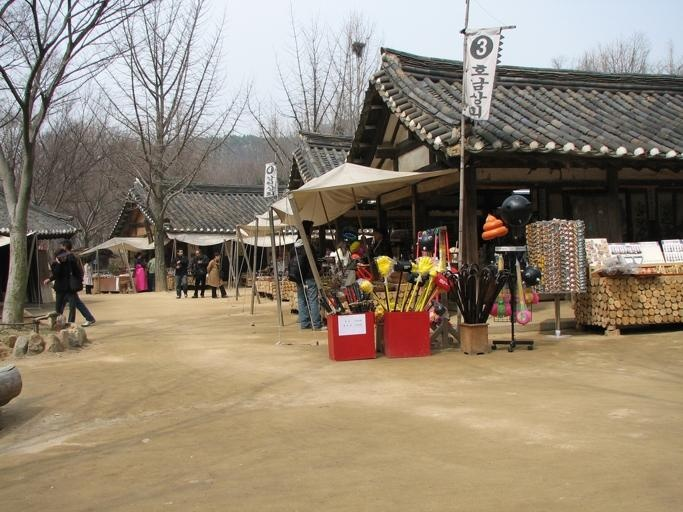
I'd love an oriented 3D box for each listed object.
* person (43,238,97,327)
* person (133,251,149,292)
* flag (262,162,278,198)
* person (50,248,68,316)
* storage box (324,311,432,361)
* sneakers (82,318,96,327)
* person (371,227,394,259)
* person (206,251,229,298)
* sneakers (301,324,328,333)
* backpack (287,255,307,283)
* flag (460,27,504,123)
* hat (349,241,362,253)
[{"bbox_3d":[-5.659,0.497,12.642,0.842,1.894,0.603,4,21,-15],"label":"person"},{"bbox_3d":[-8.801,0.763,26.486,0.619,1.608,1.292,-2,-2,-19],"label":"person"},{"bbox_3d":[-2.382,-2.577,20.132,0.015,1.040,0.516,14,17,41],"label":"flag"},{"bbox_3d":[-5.818,0.509,12.385,0.315,1.347,1.311,-1,-2,-26],"label":"person"},{"bbox_3d":[0.542,1.098,8.449,1.431,0.650,0.264,-2,-2,-4],"label":"storage box"},{"bbox_3d":[-5.602,1.455,13.189,0.384,0.198,0.151,0,0,-1],"label":"sneakers"},{"bbox_3d":[0.840,-0.288,12.745,0.387,0.601,1.333,-2,-2,2],"label":"person"},{"bbox_3d":[-4.491,0.650,21.423,0.733,1.587,0.685,8,-21,-40],"label":"person"},{"bbox_3d":[-0.502,1.357,11.300,0.513,0.229,0.177,-9,-12,42],"label":"sneakers"},{"bbox_3d":[-0.786,0.204,11.088,0.357,0.747,0.487,-2,1,-1],"label":"backpack"},{"bbox_3d":[2.181,-2.807,9.364,0.631,1.036,0.404,-3,-2,12],"label":"flag"},{"bbox_3d":[0.203,-0.142,9.479,0.124,0.180,0.284,-3,-2,13],"label":"hat"}]
